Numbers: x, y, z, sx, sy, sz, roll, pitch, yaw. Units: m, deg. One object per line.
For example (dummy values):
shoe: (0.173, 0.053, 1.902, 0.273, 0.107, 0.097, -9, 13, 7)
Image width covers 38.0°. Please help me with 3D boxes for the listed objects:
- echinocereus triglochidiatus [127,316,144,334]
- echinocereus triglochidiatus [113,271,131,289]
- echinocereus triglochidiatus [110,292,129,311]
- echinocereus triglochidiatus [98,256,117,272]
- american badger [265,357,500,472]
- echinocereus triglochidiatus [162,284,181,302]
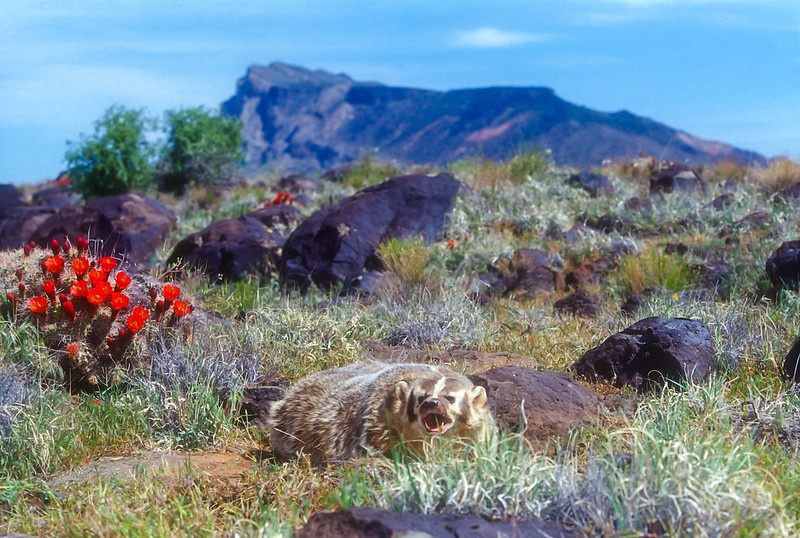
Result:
echinocereus triglochidiatus: (-3.421, 0.722, 15.005, 0.220, 0.279, 0.338, 1, 9, -16)
echinocereus triglochidiatus: (-3.586, 0.158, 15.002, 0.163, 0.278, 0.271, 1, 9, -19)
echinocereus triglochidiatus: (-3.570, 0.404, 14.837, 0.196, 0.246, 0.107, -14, 21, 28)
echinocereus triglochidiatus: (-3.797, -0.075, 15.120, 0.200, 0.210, 0.203, 4, 7, 25)
american badger: (-0.336, 1.683, 13.677, 1.320, 0.848, 1.978, -1, -3, -45)
echinocereus triglochidiatus: (-3.009, 0.318, 15.254, 0.221, 0.274, 0.318, 2, 9, -13)
